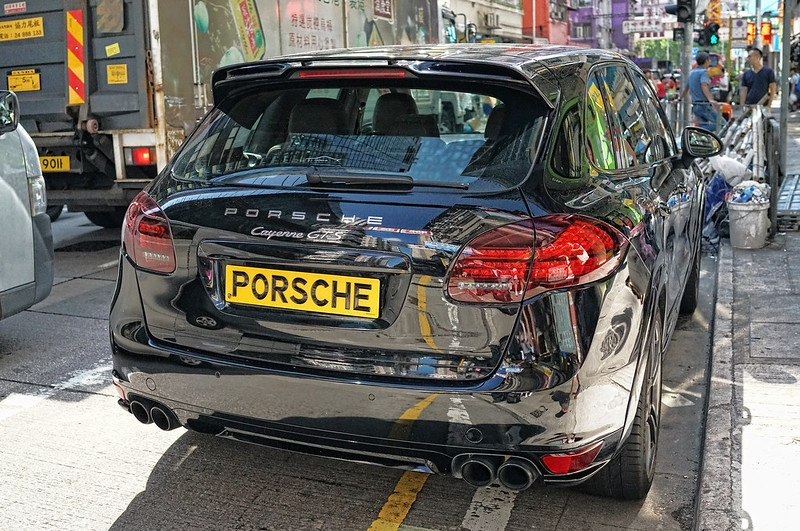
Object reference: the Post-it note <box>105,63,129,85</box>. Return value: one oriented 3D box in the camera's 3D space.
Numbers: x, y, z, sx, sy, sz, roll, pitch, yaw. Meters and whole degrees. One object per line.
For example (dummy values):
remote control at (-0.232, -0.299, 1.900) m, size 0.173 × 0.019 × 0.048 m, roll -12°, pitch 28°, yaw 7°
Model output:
Post-it note at (-3.407, -2.337, 7.677) m, size 0.275 × 0.235 × 0.031 m, roll 8°, pitch 18°, yaw 27°

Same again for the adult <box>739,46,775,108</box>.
adult at (9.046, -4.758, 15.955) m, size 0.639 × 1.397 × 1.439 m, roll 0°, pitch 17°, yaw 7°

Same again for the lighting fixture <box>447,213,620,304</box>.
lighting fixture at (0.574, -0.091, 2.875) m, size 1.112 × 0.293 × 0.592 m, roll -6°, pitch 13°, yaw -22°

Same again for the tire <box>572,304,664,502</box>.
tire at (0.990, 0.629, 2.910) m, size 0.305 × 0.901 × 0.910 m, roll 0°, pitch -15°, yaw 18°

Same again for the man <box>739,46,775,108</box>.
man at (9.037, -4.759, 15.959) m, size 0.629 × 1.397 × 1.420 m, roll 1°, pitch 17°, yaw 10°

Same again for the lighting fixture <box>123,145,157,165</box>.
lighting fixture at (-3.203, -1.375, 7.856) m, size 0.411 × 0.258 × 0.221 m, roll 2°, pitch 14°, yaw 10°
